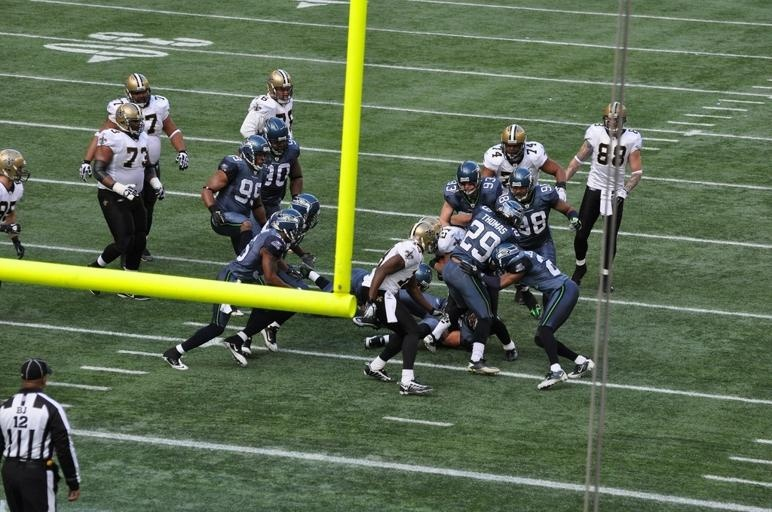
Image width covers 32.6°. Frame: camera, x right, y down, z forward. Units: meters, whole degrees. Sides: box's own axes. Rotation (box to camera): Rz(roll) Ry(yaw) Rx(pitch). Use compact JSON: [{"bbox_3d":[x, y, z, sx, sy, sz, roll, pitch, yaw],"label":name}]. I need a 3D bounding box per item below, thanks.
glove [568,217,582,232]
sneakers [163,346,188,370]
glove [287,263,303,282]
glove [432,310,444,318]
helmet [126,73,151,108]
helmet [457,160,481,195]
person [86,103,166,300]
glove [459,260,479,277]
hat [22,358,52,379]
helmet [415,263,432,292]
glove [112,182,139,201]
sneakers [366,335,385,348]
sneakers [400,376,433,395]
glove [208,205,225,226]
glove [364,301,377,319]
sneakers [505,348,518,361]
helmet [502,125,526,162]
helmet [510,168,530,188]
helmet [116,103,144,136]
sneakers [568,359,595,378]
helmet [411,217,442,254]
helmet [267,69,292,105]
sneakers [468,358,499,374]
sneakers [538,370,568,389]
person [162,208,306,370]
[{"bbox_3d":[2.086,-0.333,14.582,0.147,0.135,0.154,-2,13,5],"label":"glove"},{"bbox_3d":[-2.162,1.065,13.553,0.310,0.195,0.106,32,16,-15],"label":"sneakers"},{"bbox_3d":[-0.996,0.190,14.035,0.207,0.082,0.127,33,14,7],"label":"glove"},{"bbox_3d":[0.539,0.611,13.735,0.140,0.077,0.277,2,-2,-8],"label":"glove"},{"bbox_3d":[-2.911,-1.923,15.528,0.279,0.385,0.269,4,6,-8],"label":"helmet"},{"bbox_3d":[0.891,-0.821,14.269,0.251,0.360,0.301,5,6,2],"label":"helmet"},{"bbox_3d":[-2.971,-0.625,15.035,0.733,2.203,0.745,4,7,-9],"label":"person"},{"bbox_3d":[0.861,0.140,13.609,0.227,0.101,0.067,18,-34,-9],"label":"glove"},{"bbox_3d":[-2.983,0.970,11.300,0.184,0.110,0.220,8,21,9],"label":"hat"},{"bbox_3d":[0.389,0.237,13.989,0.143,0.334,0.488,6,6,6],"label":"helmet"},{"bbox_3d":[-2.895,-0.705,14.759,0.270,0.094,0.239,22,-5,3],"label":"glove"},{"bbox_3d":[-0.119,0.929,14.124,0.225,0.144,0.191,3,6,-7],"label":"sneakers"},{"bbox_3d":[0.275,1.325,13.281,0.435,0.147,0.129,0,10,4],"label":"sneakers"},{"bbox_3d":[-1.881,-0.429,14.666,0.082,0.149,0.222,-28,50,-25],"label":"glove"},{"bbox_3d":[-0.160,0.567,13.294,0.128,0.197,0.298,5,5,-1],"label":"glove"},{"bbox_3d":[1.326,1.045,13.945,0.136,0.143,0.189,5,6,3],"label":"sneakers"},{"bbox_3d":[1.457,-1.323,14.926,0.370,0.379,0.410,2,36,8],"label":"helmet"},{"bbox_3d":[1.451,-0.822,14.176,0.201,0.181,0.206,3,49,11],"label":"helmet"},{"bbox_3d":[-2.880,-1.514,14.823,0.315,0.369,0.299,4,6,-8],"label":"helmet"},{"bbox_3d":[2.004,1.166,13.676,0.234,0.213,0.285,5,6,6],"label":"sneakers"},{"bbox_3d":[0.378,-0.194,13.510,0.248,0.362,0.466,9,8,34],"label":"helmet"},{"bbox_3d":[-1.269,-2.011,15.846,0.267,0.391,0.295,4,6,-5],"label":"helmet"},{"bbox_3d":[0.980,1.162,13.649,0.391,0.132,0.119,2,3,1],"label":"sneakers"},{"bbox_3d":[1.698,1.260,13.448,0.291,0.214,0.303,4,6,7],"label":"sneakers"},{"bbox_3d":[-1.527,0.351,13.651,1.202,1.690,0.685,4,7,-3],"label":"person"}]
